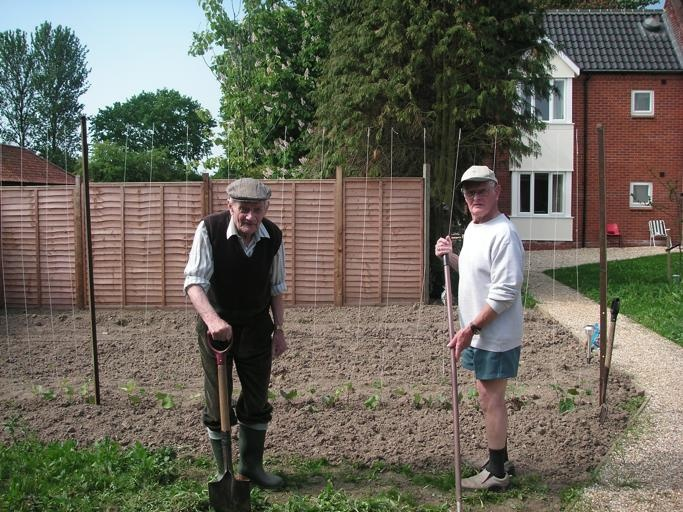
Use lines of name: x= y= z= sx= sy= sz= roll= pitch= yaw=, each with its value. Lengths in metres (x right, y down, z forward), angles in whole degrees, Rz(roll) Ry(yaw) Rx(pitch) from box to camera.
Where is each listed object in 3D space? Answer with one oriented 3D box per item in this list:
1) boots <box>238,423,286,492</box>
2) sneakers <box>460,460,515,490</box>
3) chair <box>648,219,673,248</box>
boots: x=-0.936 y=2.190 z=8.753 sx=0.618 sy=0.962 sz=0.441 roll=-2 pitch=2 yaw=-12
sneakers: x=1.555 y=2.358 z=8.545 sx=0.598 sy=0.293 sz=0.245 roll=1 pitch=-4 yaw=-4
chair: x=9.677 y=-0.704 z=24.065 sx=0.703 sy=1.292 sz=0.864 roll=0 pitch=2 yaw=6
